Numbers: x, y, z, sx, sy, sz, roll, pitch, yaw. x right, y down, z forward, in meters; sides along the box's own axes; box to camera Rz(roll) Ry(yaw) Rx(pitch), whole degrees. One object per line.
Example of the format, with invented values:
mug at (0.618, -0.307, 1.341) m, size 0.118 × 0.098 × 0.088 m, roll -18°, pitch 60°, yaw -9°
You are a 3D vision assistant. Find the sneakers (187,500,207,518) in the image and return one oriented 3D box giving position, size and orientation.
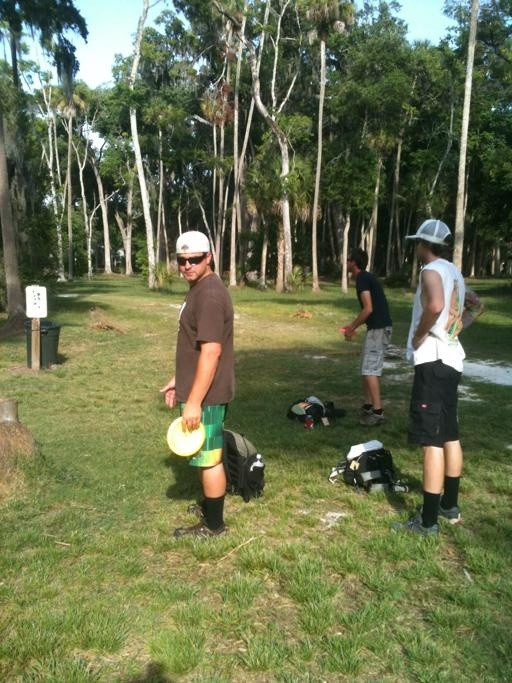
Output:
sneakers at (-0.436, 1.233, 4.705) m, size 0.119 × 0.067 × 0.150 m, roll -7°, pitch 4°, yaw -1°

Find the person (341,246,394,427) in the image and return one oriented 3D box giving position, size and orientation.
person at (1.262, -0.060, 7.168) m, size 0.499 × 1.935 × 0.597 m, roll 2°, pitch 8°, yaw 10°

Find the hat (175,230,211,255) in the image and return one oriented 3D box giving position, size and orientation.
hat at (-0.397, -0.630, 4.084) m, size 0.208 × 0.154 × 0.227 m, roll 0°, pitch 7°, yaw -6°

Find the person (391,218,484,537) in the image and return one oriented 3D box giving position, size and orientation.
person at (1.236, 0.228, 4.328) m, size 0.400 × 2.088 × 0.624 m, roll 2°, pitch 8°, yaw 14°

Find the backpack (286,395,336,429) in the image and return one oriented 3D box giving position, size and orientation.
backpack at (0.680, 0.812, 7.439) m, size 0.344 × 0.155 × 0.417 m, roll 5°, pitch 3°, yaw 27°

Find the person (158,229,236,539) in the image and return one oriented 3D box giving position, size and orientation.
person at (-0.343, 0.295, 4.204) m, size 0.409 × 2.020 × 0.649 m, roll 0°, pitch 8°, yaw -5°

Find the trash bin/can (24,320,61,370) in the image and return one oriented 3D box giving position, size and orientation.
trash bin/can at (-3.556, 0.042, 10.916) m, size 0.783 × 0.777 × 0.710 m, roll 3°, pitch -1°, yaw -19°

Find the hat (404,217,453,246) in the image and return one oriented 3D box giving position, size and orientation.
hat at (1.198, -0.765, 4.443) m, size 0.252 × 0.127 × 0.174 m, roll 19°, pitch 25°, yaw 36°

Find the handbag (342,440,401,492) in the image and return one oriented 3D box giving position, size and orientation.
handbag at (0.962, 1.026, 5.316) m, size 0.338 × 0.286 × 0.435 m, roll 1°, pitch 7°, yaw -14°

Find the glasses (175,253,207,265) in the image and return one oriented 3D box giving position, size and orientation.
glasses at (-0.439, -0.520, 4.110) m, size 0.270 × 0.081 × 0.137 m, roll 6°, pitch 9°, yaw 40°

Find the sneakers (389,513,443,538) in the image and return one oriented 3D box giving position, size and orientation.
sneakers at (1.084, 1.229, 4.317) m, size 0.325 × 0.132 × 0.122 m, roll 1°, pitch -7°, yaw 28°

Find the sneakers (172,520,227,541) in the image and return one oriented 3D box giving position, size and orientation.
sneakers at (-0.367, 1.247, 4.241) m, size 0.346 × 0.128 × 0.122 m, roll 5°, pitch -12°, yaw -2°

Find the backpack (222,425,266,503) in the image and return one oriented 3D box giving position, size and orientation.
backpack at (-0.102, 0.954, 4.923) m, size 0.375 × 0.511 × 0.212 m, roll 19°, pitch 25°, yaw 39°
